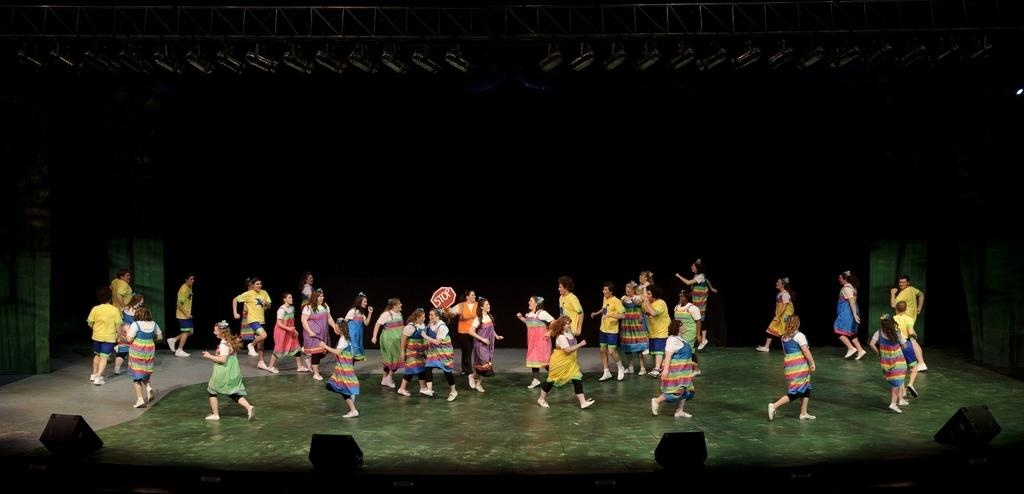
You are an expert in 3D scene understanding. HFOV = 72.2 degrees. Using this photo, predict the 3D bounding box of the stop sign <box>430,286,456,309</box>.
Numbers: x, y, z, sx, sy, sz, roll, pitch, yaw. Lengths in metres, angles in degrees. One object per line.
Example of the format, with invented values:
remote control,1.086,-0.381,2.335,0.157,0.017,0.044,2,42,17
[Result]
stop sign,-1.688,1.295,17.728,0.731,0.600,0.091,-3,-22,-10

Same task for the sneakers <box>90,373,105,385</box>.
sneakers,-9.940,3.188,16.938,0.217,0.148,0.380,0,4,-7

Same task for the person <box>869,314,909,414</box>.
person,8.322,2.569,15.503,0.619,2.082,1.005,0,-4,28

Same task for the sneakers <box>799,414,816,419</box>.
sneakers,6.318,3.643,15.072,0.351,0.117,0.108,-1,4,3

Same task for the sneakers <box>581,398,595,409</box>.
sneakers,1.674,3.486,15.665,0.374,0.220,0.137,-17,10,1

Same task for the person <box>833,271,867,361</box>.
person,9.060,1.816,18.827,0.704,2.376,1.285,0,-4,26

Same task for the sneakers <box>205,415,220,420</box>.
sneakers,-6.416,3.659,15.127,0.308,0.104,0.111,2,-6,8

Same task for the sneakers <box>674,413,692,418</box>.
sneakers,3.708,3.627,15.130,0.276,0.085,0.140,-1,-3,-1

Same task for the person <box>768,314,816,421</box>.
person,6.114,2.609,15.282,0.846,2.204,1.433,0,-4,23

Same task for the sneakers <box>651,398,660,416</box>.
sneakers,3.103,3.449,15.197,0.221,0.437,0.161,2,15,18

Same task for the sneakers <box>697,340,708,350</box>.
sneakers,5.223,2.686,19.279,0.390,0.155,0.147,-44,6,-31

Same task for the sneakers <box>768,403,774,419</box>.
sneakers,5.569,3.510,15.025,0.170,0.333,0.124,3,3,-7

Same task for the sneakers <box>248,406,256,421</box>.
sneakers,-5.559,3.572,15.090,0.163,0.333,0.139,16,15,30

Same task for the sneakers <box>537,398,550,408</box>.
sneakers,0.723,3.499,15.748,0.153,0.091,0.246,3,7,-41

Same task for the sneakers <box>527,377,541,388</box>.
sneakers,0.567,3.261,16.853,0.326,0.107,0.174,-9,-1,-41
